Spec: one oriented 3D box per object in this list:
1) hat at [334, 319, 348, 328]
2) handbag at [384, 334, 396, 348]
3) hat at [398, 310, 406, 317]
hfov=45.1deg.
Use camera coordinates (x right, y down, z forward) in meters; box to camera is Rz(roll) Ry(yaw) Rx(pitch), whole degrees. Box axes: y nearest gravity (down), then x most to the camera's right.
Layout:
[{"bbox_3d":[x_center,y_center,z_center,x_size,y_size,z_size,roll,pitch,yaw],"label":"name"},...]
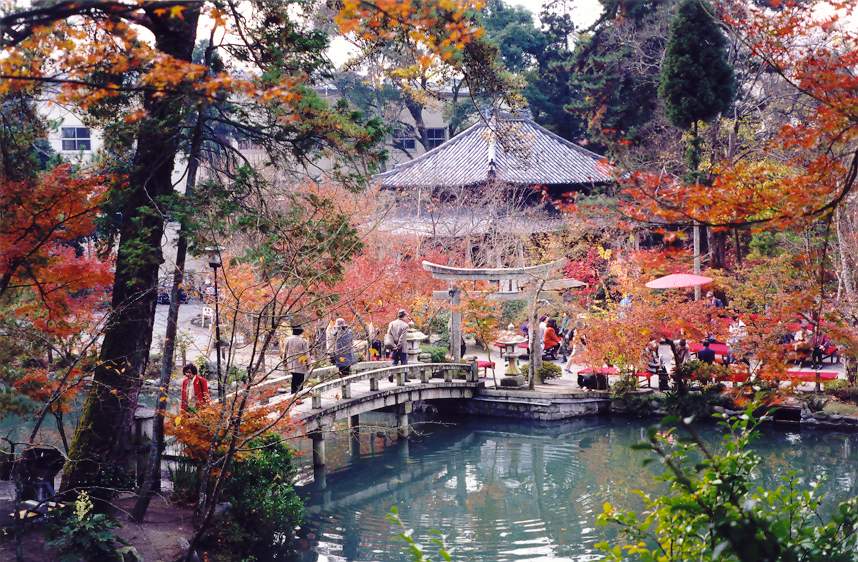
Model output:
[{"bbox_3d":[-1.837,0.843,21.578,0.300,0.236,0.397,0,-7,-6],"label":"hat"},{"bbox_3d":[-0.892,1.382,23.874,0.186,0.356,0.280,-26,14,-16],"label":"handbag"},{"bbox_3d":[-0.617,0.720,23.157,0.118,0.159,0.153,19,-3,6],"label":"hat"}]
